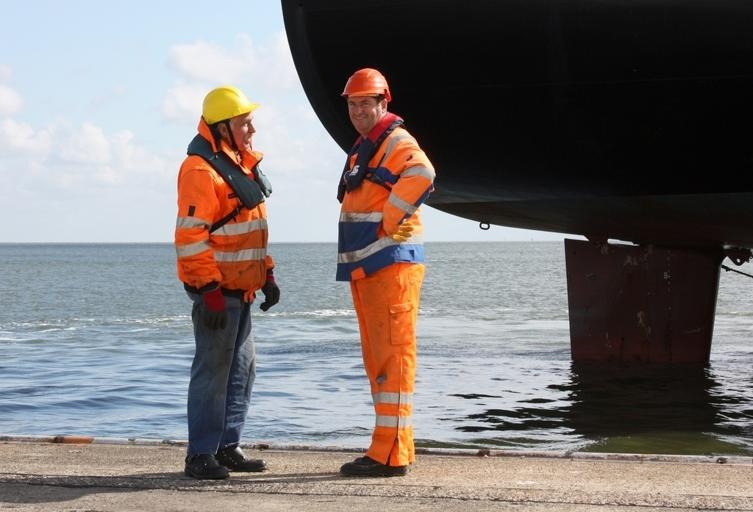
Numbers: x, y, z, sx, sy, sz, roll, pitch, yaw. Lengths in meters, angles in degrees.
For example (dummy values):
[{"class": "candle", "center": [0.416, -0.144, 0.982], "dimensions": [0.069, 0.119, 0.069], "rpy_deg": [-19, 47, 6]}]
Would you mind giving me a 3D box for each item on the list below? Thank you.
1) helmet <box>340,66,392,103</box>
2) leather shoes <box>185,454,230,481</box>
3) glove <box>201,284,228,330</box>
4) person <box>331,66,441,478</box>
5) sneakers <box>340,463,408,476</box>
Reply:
[{"class": "helmet", "center": [-0.106, -1.576, 11.417], "dimensions": [0.456, 0.278, 0.569], "rpy_deg": [3, 1, 14]}, {"class": "leather shoes", "center": [-1.514, 1.868, 10.991], "dimensions": [0.394, 0.140, 0.194], "rpy_deg": [-2, -1, 32]}, {"class": "glove", "center": [-1.417, 0.433, 11.065], "dimensions": [0.248, 0.444, 0.152], "rpy_deg": [3, -8, 22]}, {"class": "person", "center": [0.009, 0.129, 11.212], "dimensions": [0.950, 2.925, 0.425], "rpy_deg": [6, -2, 2]}, {"class": "sneakers", "center": [-0.041, 1.903, 11.150], "dimensions": [0.591, 0.191, 0.174], "rpy_deg": [3, -6, -1]}]
